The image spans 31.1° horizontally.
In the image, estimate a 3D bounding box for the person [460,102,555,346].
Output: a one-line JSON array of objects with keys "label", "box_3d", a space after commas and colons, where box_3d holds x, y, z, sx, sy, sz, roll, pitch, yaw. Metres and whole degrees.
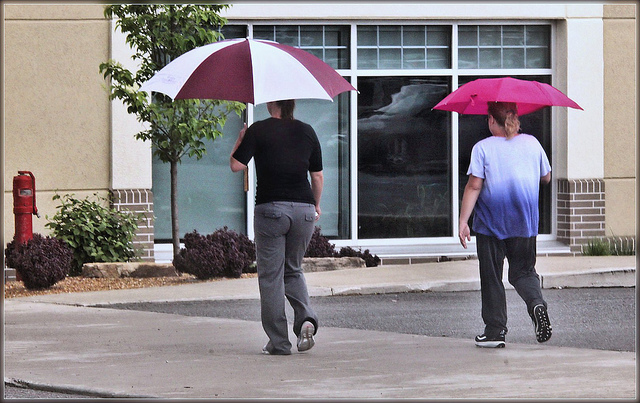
[{"label": "person", "box_3d": [2.745, 0.285, 16.944, 1.225, 3.498, 0.627, -1, 1, 8]}]

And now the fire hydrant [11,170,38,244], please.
[{"label": "fire hydrant", "box_3d": [-5.432, 0.232, 21.125, 0.461, 1.552, 0.422, -2, -3, 1]}]
